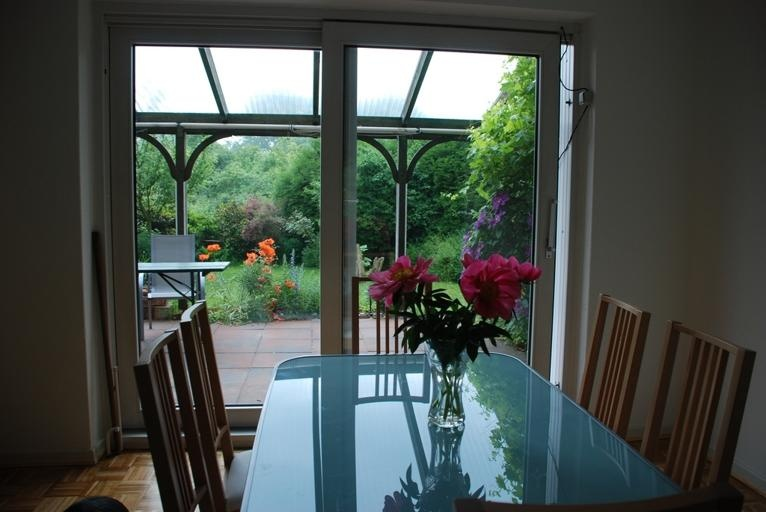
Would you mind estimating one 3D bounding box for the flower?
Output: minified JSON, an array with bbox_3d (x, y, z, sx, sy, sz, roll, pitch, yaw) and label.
[{"bbox_3d":[0.413,0.261,2.577,0.660,0.833,0.806,0,2,32],"label":"flower"}]
